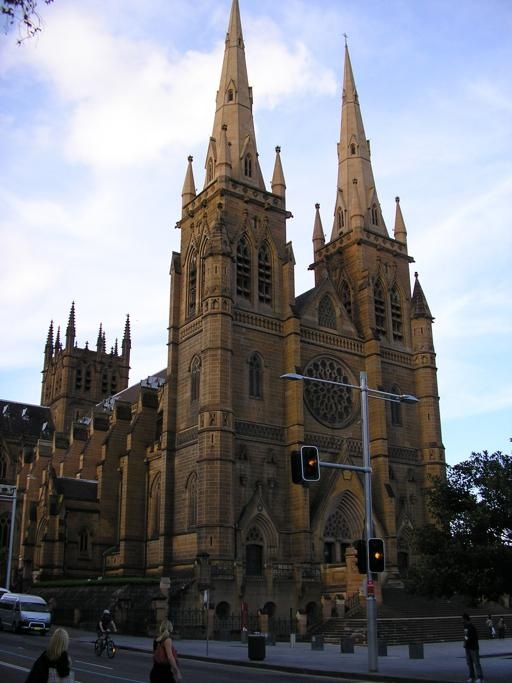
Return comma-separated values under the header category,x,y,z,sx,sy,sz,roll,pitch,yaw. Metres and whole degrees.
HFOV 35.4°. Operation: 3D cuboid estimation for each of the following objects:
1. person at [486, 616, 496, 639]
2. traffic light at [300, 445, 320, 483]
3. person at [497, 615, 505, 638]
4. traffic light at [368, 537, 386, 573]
category,x,y,z,sx,sy,sz,roll,pitch,yaw
person,10.598,12.907,36.187,0.381,0.935,2.084,-7,-17,14
traffic light,1.226,2.829,18.617,0.367,0.863,0.818,-5,-17,7
person,11.078,13.048,36.427,0.292,0.817,2.285,-8,-17,18
traffic light,2.862,5.153,19.297,0.375,0.764,0.504,-4,-16,5
